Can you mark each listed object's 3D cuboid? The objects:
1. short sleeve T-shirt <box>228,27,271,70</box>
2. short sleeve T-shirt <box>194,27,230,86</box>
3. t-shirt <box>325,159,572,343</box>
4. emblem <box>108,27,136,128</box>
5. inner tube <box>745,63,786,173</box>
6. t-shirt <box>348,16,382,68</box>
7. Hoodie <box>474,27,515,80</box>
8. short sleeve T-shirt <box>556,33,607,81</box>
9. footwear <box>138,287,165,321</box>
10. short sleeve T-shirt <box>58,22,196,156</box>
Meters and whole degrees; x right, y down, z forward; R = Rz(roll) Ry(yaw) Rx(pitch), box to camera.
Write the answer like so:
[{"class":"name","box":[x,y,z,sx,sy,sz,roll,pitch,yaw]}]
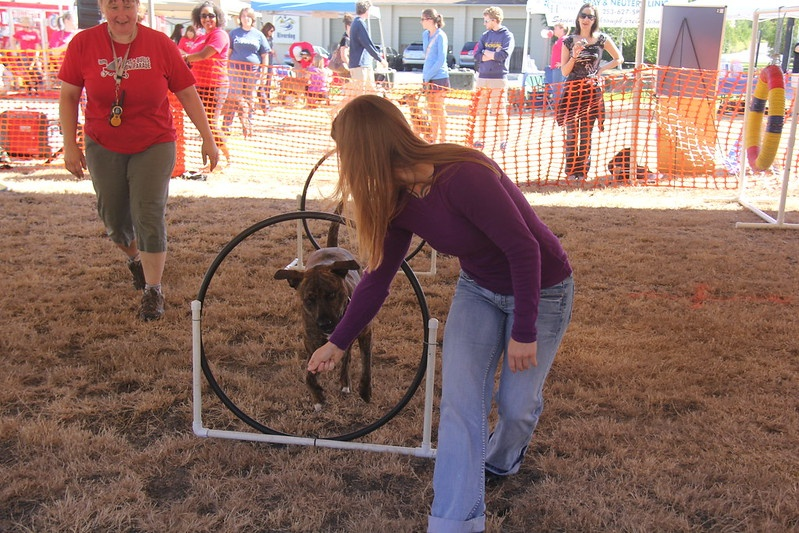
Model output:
[{"class":"short sleeve T-shirt","box":[-2.602,-3.777,12.563,0.772,0.617,0.435,4,19,-9]},{"class":"short sleeve T-shirt","box":[-2.720,-2.948,10.582,0.505,0.886,0.778,-4,3,-30]},{"class":"t-shirt","box":[0.269,-0.100,4.591,1.628,1.020,0.890,-9,13,10]},{"class":"emblem","box":[-2.241,-1.481,5.876,0.188,0.714,0.186,2,18,-2]},{"class":"inner tube","box":[4.136,-1.639,8.275,0.346,1.210,0.947,10,19,23]},{"class":"t-shirt","box":[-0.533,-3.527,11.604,0.470,0.775,0.847,-2,18,-13]},{"class":"Hoodie","box":[1.446,-3.311,11.389,0.554,0.780,0.451,6,18,11]},{"class":"short sleeve T-shirt","box":[2.618,-2.926,10.352,0.603,0.691,0.367,0,11,4]},{"class":"footwear","box":[-2.089,0.326,6.178,0.131,0.139,0.350,-1,19,-17]},{"class":"short sleeve T-shirt","box":[-2.250,-1.461,6.068,1.084,1.022,0.532,-1,19,-11]}]
